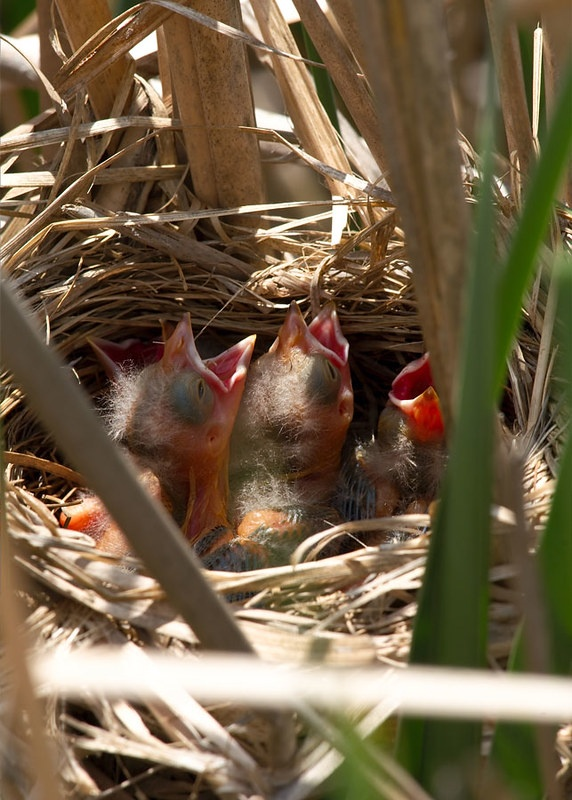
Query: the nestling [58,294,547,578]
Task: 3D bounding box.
[{"bbox_3d":[0.021,0.034,0.881,0.272,0.240,0.119,7,-8,2],"label":"nestling"}]
